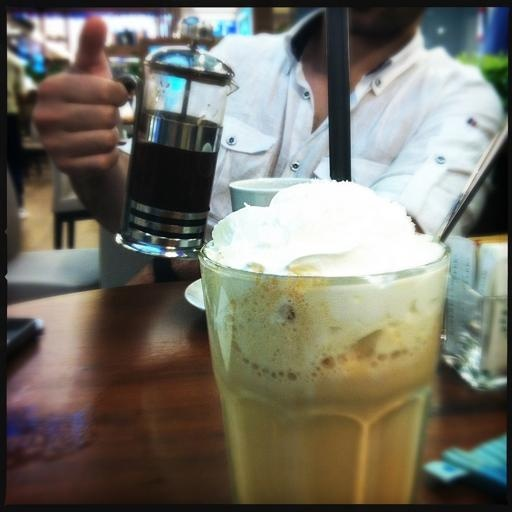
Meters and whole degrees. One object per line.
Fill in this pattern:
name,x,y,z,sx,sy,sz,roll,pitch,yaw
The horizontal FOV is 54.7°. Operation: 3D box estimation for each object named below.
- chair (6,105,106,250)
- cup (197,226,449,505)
chair,-0.417,-0.107,1.070,0.169,0.348,0.180,-1,11,-10
cup,0.054,0.068,0.397,0.147,0.194,0.159,-1,14,0
